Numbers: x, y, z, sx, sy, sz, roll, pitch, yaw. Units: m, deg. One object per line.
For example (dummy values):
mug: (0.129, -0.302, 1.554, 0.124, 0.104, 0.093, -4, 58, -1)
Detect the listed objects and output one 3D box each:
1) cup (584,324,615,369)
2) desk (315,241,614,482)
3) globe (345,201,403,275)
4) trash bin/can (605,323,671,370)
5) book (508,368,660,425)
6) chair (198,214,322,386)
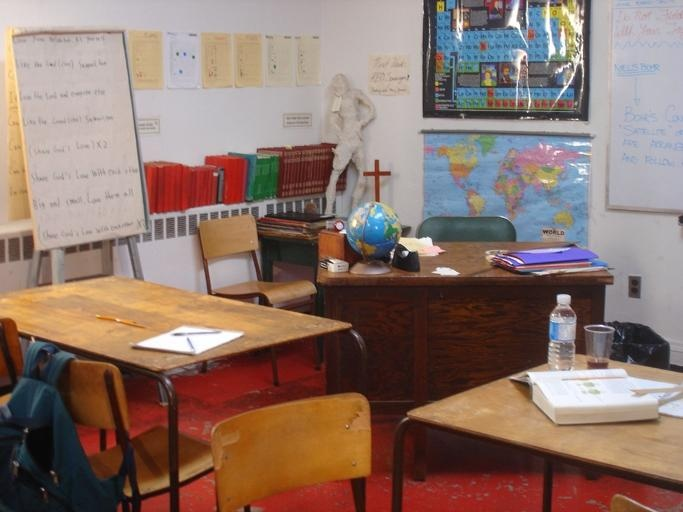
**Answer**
cup: (0.941, 0.346, 2.115, 0.111, 0.146, 0.117, 3, 1, 0)
desk: (0.674, 0.679, 3.436, 1.578, 1.117, 0.985, -1, -6, -7)
globe: (0.169, -0.098, 3.063, 0.294, 0.355, 0.283, -3, 20, -10)
trash bin/can: (2.084, 0.652, 4.112, 0.331, 0.353, 0.287, -6, 17, -7)
book: (0.791, 0.443, 1.841, 0.304, 0.083, 0.317, -4, 7, 2)
chair: (-0.634, 0.332, 4.556, 0.807, 1.199, 0.668, 4, 10, 24)
